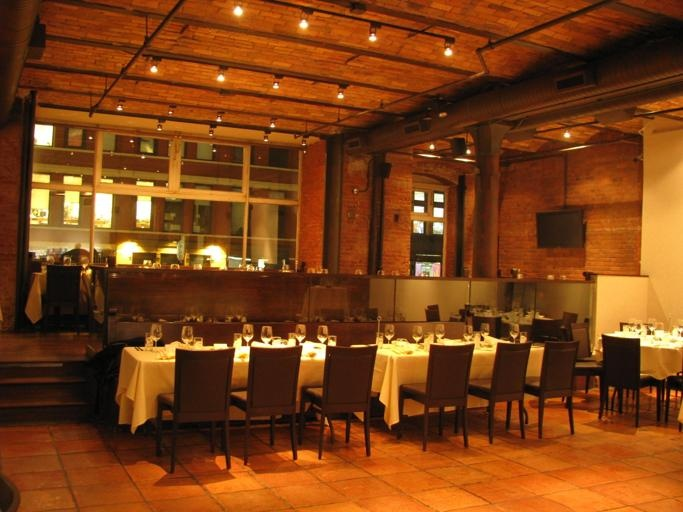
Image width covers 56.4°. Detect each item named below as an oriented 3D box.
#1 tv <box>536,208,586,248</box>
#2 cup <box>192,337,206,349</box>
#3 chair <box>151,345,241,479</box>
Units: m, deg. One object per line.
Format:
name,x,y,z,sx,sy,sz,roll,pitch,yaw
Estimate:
tv,4.850,-0.602,14.144,0.192,0.904,1.278,-1,6,-32
cup,-1.541,0.950,6.984,0.153,0.169,0.149,1,3,0
chair,-1.496,1.451,6.549,0.757,1.223,0.905,1,5,-16
